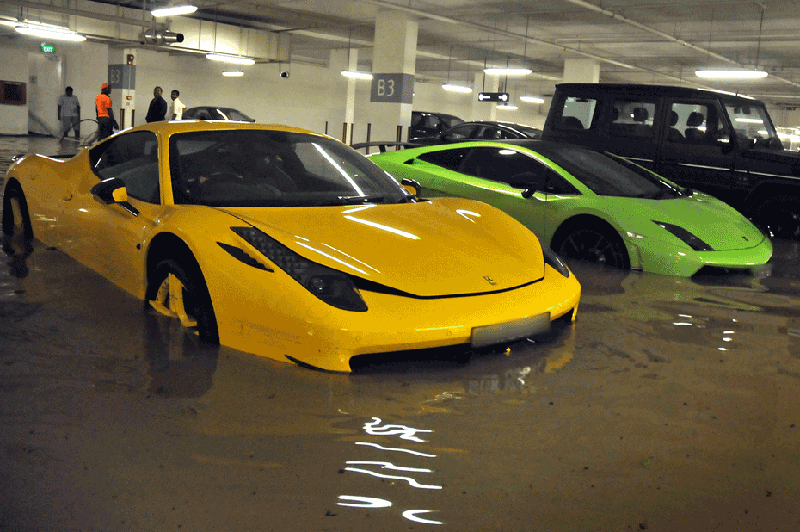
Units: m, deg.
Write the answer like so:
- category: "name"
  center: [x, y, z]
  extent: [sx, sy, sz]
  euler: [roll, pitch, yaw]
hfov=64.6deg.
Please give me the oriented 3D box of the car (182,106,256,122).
- category: "car"
  center: [-7.101, -5.780, 24.100]
  extent: [2.348, 0.633, 4.139]
  euler: [1, 10, -18]

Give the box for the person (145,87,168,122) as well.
- category: "person"
  center: [-7.384, -4.841, 19.135]
  extent: [0.473, 1.043, 0.904]
  euler: [1, 12, -24]

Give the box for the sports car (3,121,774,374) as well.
- category: "sports car"
  center: [-1.089, -0.263, 4.508]
  extent: [3.626, 0.806, 2.090]
  euler: [16, 13, 35]

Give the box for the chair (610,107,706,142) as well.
- category: "chair"
  center: [3.840, -2.011, 9.054]
  extent: [0.874, 0.320, 0.533]
  euler: [9, 15, 21]
